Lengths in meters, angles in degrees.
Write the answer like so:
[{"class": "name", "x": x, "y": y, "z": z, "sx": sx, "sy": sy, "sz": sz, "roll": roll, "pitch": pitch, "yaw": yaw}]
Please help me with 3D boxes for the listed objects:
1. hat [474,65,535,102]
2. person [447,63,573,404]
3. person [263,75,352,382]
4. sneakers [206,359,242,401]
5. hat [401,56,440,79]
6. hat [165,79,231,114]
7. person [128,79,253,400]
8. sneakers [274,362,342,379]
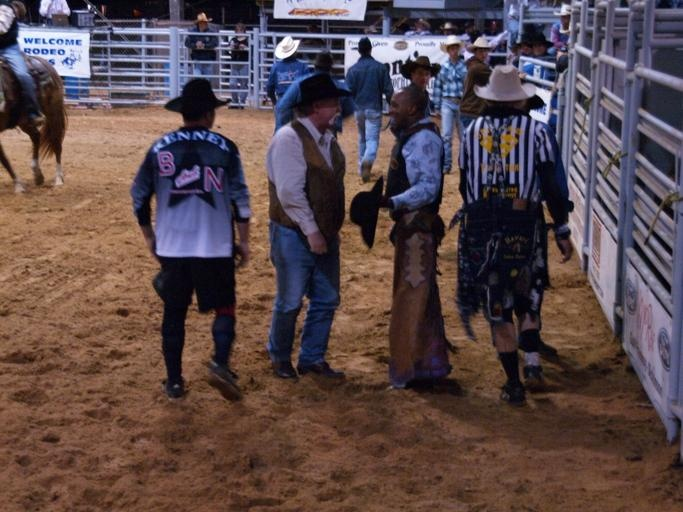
[{"class": "hat", "x": 1.239, "y": -1.280, "z": 5.851, "sx": 0.314, "sy": 0.141, "sz": 0.382, "roll": 0, "pitch": 30, "yaw": 7}, {"class": "person", "x": 1.261, "y": -0.153, "z": 5.826, "sx": 0.887, "sy": 2.474, "sz": 0.613, "roll": 10, "pitch": 20, "yaw": 25}, {"class": "person", "x": -0.263, "y": -0.178, "z": 5.956, "sx": 0.617, "sy": 2.447, "sz": 0.554, "roll": -4, "pitch": 18, "yaw": -15}, {"class": "sneakers", "x": -0.850, "y": 0.904, "z": 5.484, "sx": 0.338, "sy": 0.114, "sz": 0.154, "roll": 49, "pitch": 31, "yaw": 6}, {"class": "hat", "x": 0.930, "y": -2.363, "z": 9.249, "sx": 0.495, "sy": 0.213, "sz": 0.575, "roll": 1, "pitch": -13, "yaw": 5}, {"class": "hat", "x": -1.006, "y": -1.145, "z": 5.521, "sx": 0.272, "sy": 0.141, "sz": 0.362, "roll": 6, "pitch": 24, "yaw": 15}, {"class": "person", "x": -0.919, "y": -0.073, "z": 5.495, "sx": 0.964, "sy": 2.315, "sz": 0.722, "roll": 18, "pitch": 24, "yaw": 41}, {"class": "sneakers", "x": -0.272, "y": 0.916, "z": 6.272, "sx": 0.576, "sy": 0.178, "sz": 0.199, "roll": 0, "pitch": 7, "yaw": -4}]
